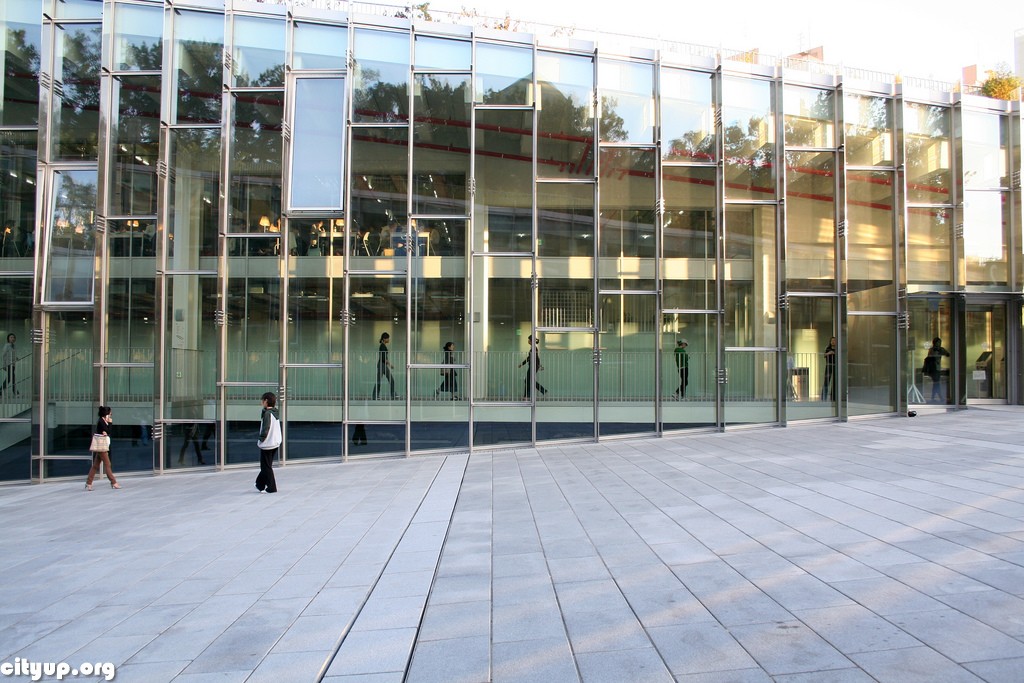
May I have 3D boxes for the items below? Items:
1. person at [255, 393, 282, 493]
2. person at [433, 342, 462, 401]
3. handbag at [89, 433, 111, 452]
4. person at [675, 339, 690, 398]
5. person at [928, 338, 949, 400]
[{"bbox_3d":[-5.643,2.307,19.882,0.592,2.243,0.828,-3,-2,-18],"label":"person"},{"bbox_3d":[-1.724,0.747,23.062,0.577,1.537,0.145,-4,-2,11],"label":"person"},{"bbox_3d":[-9.996,2.441,20.959,0.632,0.580,0.391,2,-6,-22],"label":"handbag"},{"bbox_3d":[4.844,0.735,24.349,0.460,1.300,0.126,-2,-2,-27],"label":"person"},{"bbox_3d":[13.614,0.894,27.449,0.953,2.011,0.215,-2,-2,-26],"label":"person"}]
